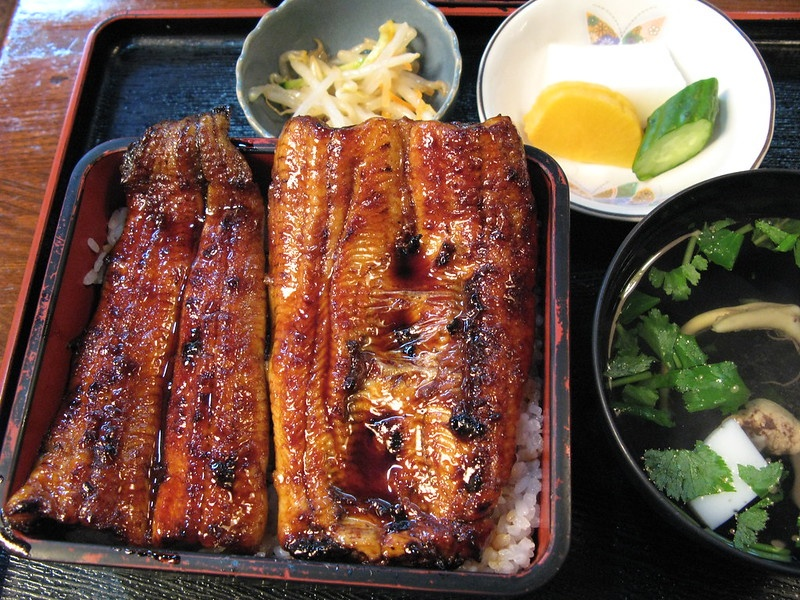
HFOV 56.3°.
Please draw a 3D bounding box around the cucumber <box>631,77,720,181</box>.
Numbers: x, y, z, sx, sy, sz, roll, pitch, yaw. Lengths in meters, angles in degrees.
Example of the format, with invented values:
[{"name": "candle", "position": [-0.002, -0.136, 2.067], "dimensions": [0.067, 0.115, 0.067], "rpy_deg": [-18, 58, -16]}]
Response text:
[{"name": "cucumber", "position": [1.270, -0.777, 3.423], "dimensions": [0.470, 0.222, 0.246], "rpy_deg": [-30, 72, -5]}]
